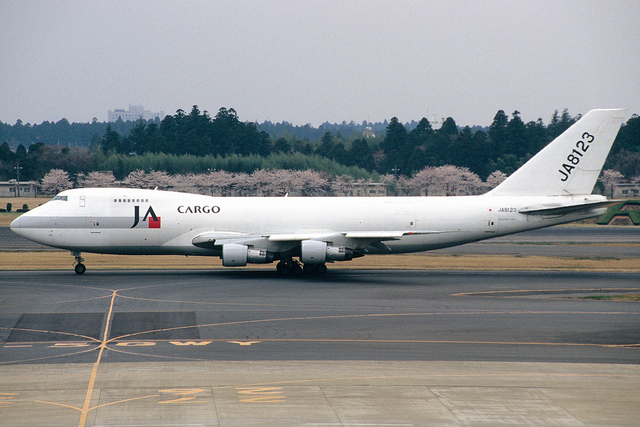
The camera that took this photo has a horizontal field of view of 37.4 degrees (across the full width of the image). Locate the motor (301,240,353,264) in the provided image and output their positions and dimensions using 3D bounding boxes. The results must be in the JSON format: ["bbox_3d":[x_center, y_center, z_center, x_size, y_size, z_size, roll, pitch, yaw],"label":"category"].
[{"bbox_3d":[0.543,2.969,72.121,4.019,1.202,1.629,1,-9,-4],"label":"motor"}]

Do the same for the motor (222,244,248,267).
[{"bbox_3d":[-6.478,3.132,71.376,1.885,1.600,0.488,1,7,-4],"label":"motor"}]
